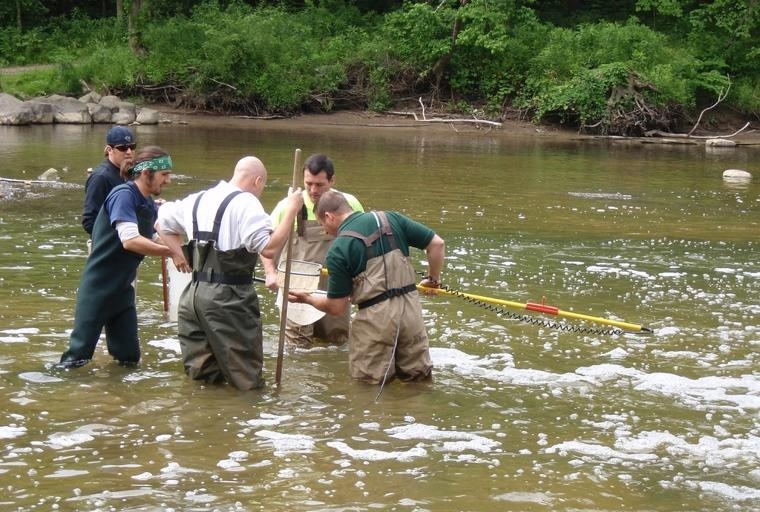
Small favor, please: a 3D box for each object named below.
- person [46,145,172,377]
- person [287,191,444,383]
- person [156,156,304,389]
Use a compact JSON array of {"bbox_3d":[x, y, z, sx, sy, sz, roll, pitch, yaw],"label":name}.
[{"bbox_3d":[-3.552,0.047,13.003,1.471,3.031,0.839,-1,10,-12],"label":"person"},{"bbox_3d":[-0.025,0.440,13.115,1.716,2.590,0.578,1,10,-2],"label":"person"},{"bbox_3d":[-1.993,0.259,12.869,1.866,3.083,0.709,1,10,2],"label":"person"}]
